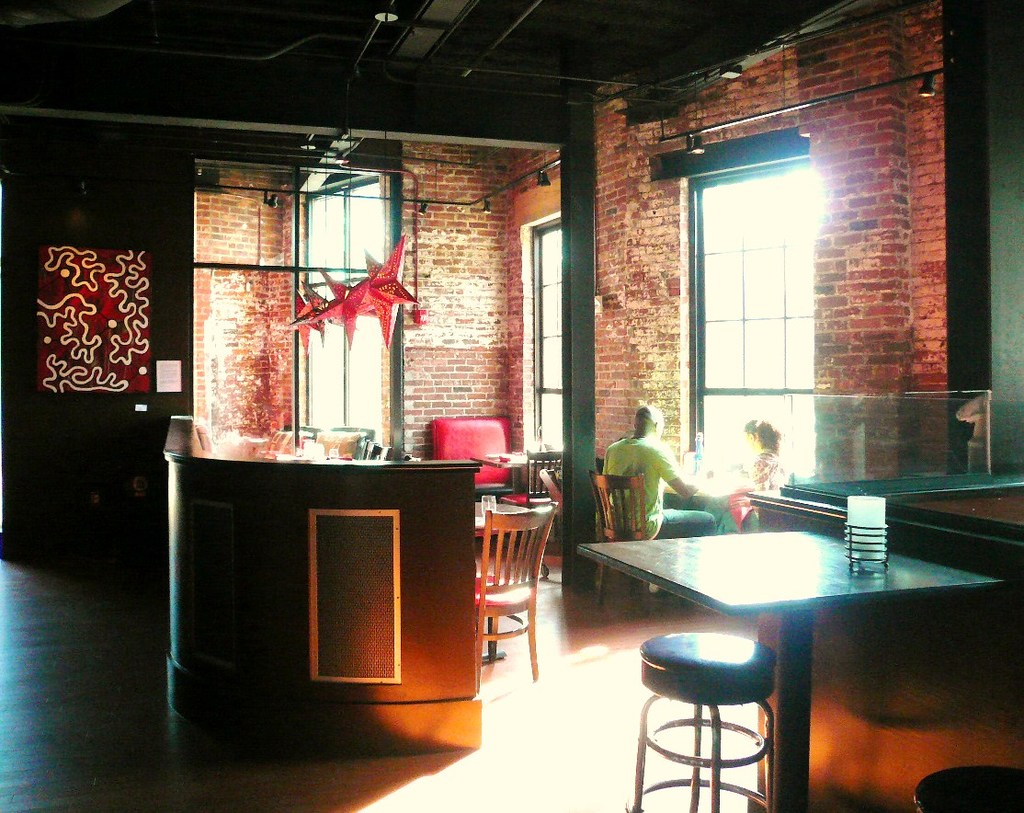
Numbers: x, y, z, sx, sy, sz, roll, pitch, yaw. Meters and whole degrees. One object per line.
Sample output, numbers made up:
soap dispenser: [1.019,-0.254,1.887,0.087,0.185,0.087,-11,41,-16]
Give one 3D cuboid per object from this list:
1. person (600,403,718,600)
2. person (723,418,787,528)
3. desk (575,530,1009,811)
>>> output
person: [1.081,0.674,6.916,0.868,1.229,0.795,3,4,6]
person: [1.651,0.477,6.506,0.318,0.850,1.694,1,7,13]
desk: [1.012,1.079,3.695,1.271,1.019,0.845,-2,7,-14]
